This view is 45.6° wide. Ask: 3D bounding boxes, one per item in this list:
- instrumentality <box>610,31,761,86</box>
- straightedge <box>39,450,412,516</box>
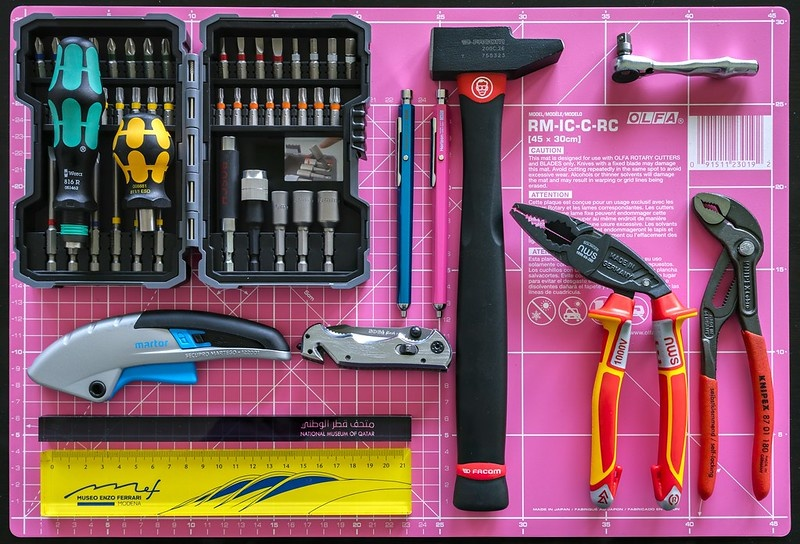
[{"bbox_3d":[0.911,-0.667,3.012,0.492,0.176,0.099,3,-18,0],"label":"instrumentality"},{"bbox_3d":[-0.591,0.663,2.900,1.231,0.203,0.017,-1,0,0],"label":"straightedge"}]
